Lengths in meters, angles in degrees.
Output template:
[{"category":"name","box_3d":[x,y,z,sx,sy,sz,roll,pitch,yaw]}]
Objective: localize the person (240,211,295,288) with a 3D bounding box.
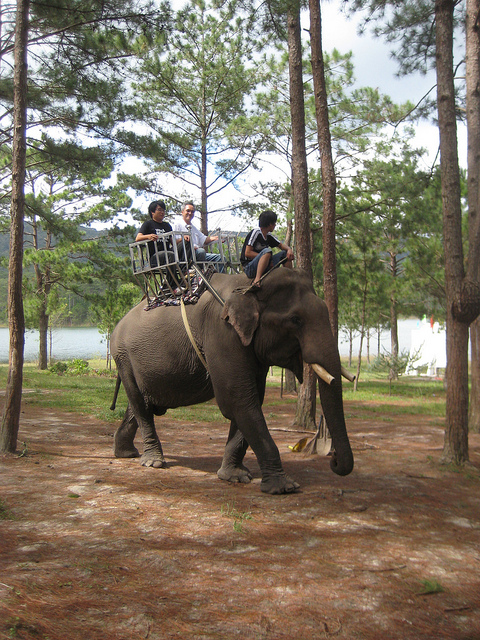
[{"category":"person","box_3d":[0.285,-0.670,6.381,0.631,0.691,0.463,-2,6,11]}]

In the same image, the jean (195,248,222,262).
[{"category":"jean","box_3d":[-0.329,-0.683,6.876,0.280,0.138,0.120,2,15,-2]}]

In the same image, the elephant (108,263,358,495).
[{"category":"elephant","box_3d":[-0.204,0.597,6.579,3.030,1.959,1.256,-1,-2,37]}]
